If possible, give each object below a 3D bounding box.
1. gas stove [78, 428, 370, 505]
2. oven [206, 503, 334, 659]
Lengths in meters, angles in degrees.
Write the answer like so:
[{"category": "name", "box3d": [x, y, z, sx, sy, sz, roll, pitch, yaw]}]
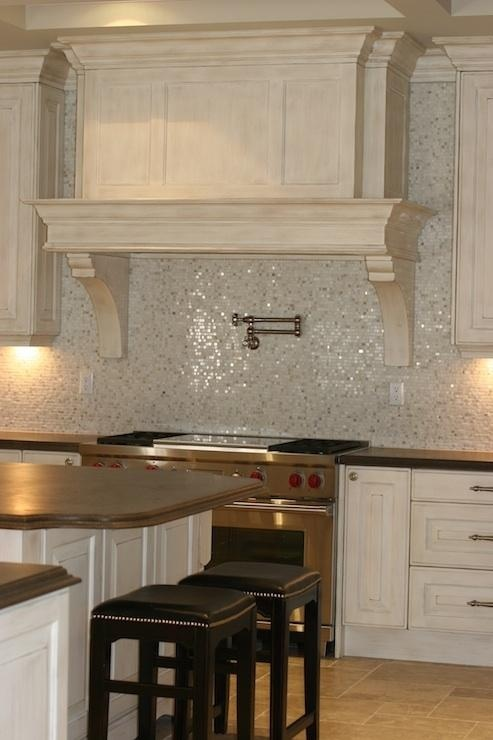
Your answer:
[{"category": "gas stove", "box3d": [-0.252, 0.553, 3.968, 1.329, 0.291, 0.631, 6, -11, -26]}, {"category": "oven", "box3d": [0.091, 1.031, 4.127, 0.789, 1.017, 0.733, -2, -7, 20]}]
